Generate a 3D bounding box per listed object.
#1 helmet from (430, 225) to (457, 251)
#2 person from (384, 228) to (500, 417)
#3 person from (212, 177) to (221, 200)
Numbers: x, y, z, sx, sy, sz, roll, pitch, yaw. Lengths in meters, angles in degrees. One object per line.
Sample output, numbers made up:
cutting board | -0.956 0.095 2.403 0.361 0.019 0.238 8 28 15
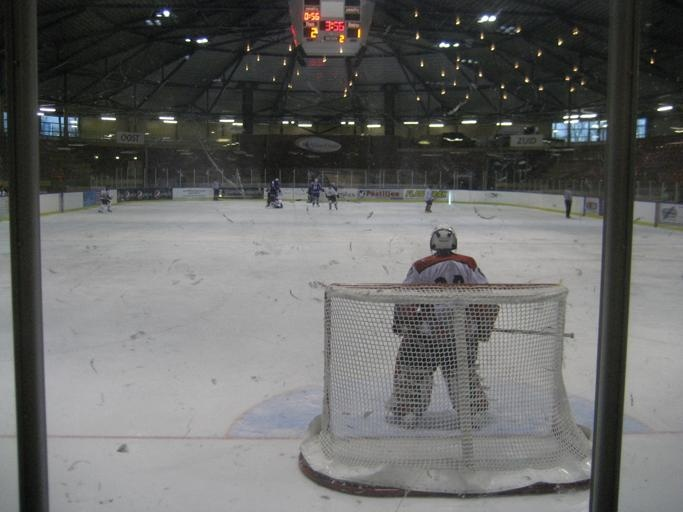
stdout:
helmet | 0.722 -0.142 4.522 0.141 0.185 0.156 0 4 3
person | 0.668 0.420 4.150 0.668 1.183 0.864 0 6 14
person | -7.763 -4.099 39.273 0.487 1.074 0.800 -3 6 -12
